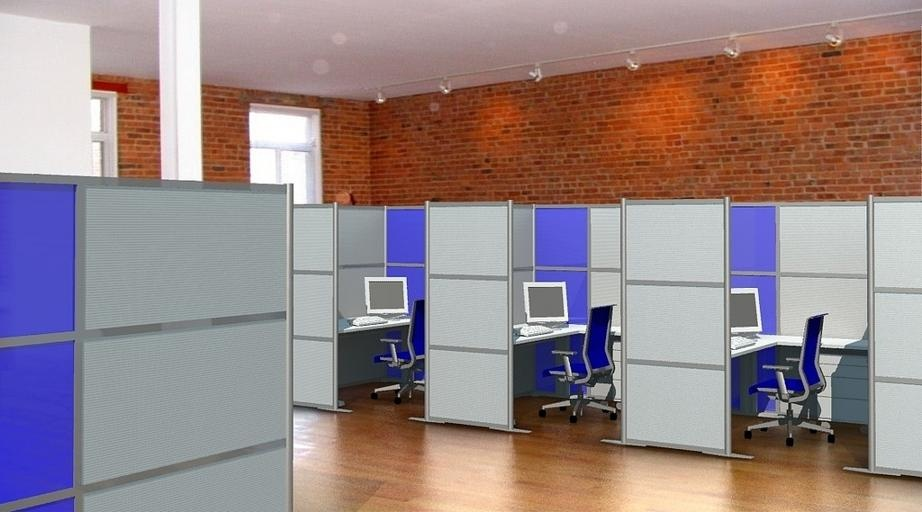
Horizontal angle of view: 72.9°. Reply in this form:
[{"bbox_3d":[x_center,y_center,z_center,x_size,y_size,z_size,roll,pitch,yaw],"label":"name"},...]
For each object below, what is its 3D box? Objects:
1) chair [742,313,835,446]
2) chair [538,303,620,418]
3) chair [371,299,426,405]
[{"bbox_3d":[4.121,1.425,7.759,0.971,1.570,1.375,2,7,26],"label":"chair"},{"bbox_3d":[1.665,1.387,8.432,0.941,1.590,1.080,0,7,12],"label":"chair"},{"bbox_3d":[-0.952,1.343,9.417,0.795,1.564,1.280,-2,7,-8],"label":"chair"}]
